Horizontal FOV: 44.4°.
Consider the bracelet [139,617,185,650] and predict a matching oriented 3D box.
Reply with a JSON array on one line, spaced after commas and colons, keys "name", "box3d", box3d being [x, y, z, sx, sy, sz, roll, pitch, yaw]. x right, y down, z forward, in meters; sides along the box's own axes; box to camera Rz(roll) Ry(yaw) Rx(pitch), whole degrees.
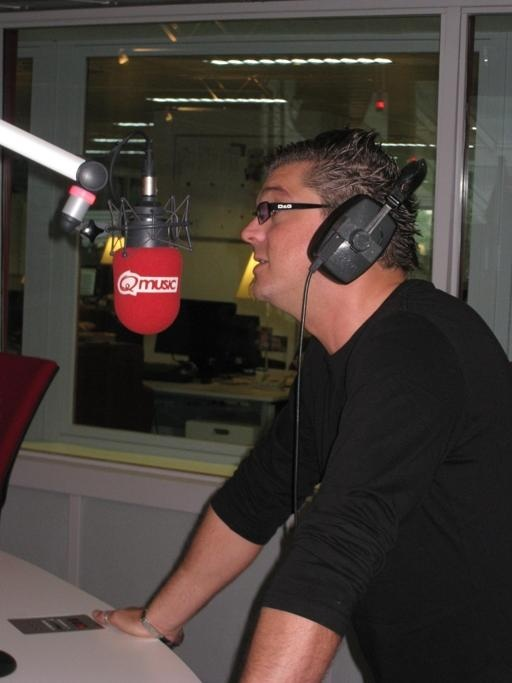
[{"name": "bracelet", "box3d": [-0.155, 0.468, 1.010, 0.053, 0.016, 0.053, 43, -4, 20]}]

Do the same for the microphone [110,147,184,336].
[{"name": "microphone", "box3d": [-0.189, -0.176, 1.076, 0.166, 0.328, 0.154, 2, 7, 0]}]

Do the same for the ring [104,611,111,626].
[{"name": "ring", "box3d": [-0.241, 0.449, 1.019, 0.006, 0.013, 0.014, 1, 7, -9]}]
